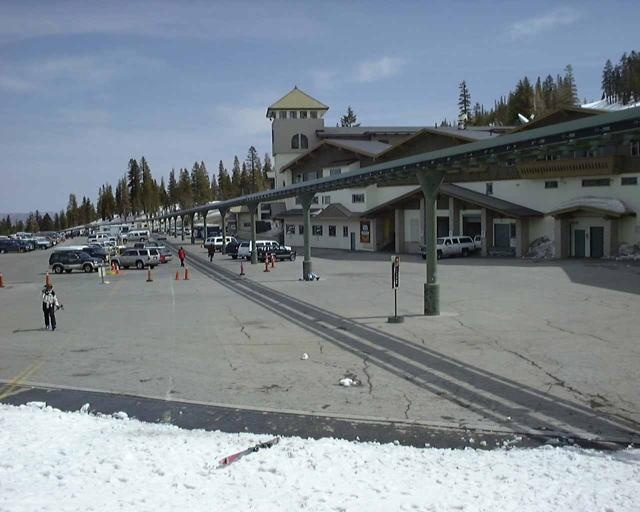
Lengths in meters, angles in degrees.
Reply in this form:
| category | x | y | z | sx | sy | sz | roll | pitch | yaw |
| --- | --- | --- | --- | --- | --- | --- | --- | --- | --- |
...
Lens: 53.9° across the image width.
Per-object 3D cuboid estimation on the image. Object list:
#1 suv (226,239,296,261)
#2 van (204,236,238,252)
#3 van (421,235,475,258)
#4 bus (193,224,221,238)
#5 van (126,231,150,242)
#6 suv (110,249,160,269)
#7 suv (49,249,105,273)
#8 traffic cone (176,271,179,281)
| category | x | y | z | sx | sy | sz | roll | pitch | yaw |
| --- | --- | --- | --- | --- | --- | --- | --- | --- | --- |
| suv | -3.991 | -0.469 | 50.874 | 4.133 | 1.483 | 2.413 | -4 | 6 | -23 |
| van | -10.577 | -1.427 | 65.743 | 2.507 | 1.432 | 4.329 | -3 | 8 | -21 |
| van | 10.092 | -0.786 | 48.151 | 4.415 | 1.890 | 2.566 | 0 | -2 | -34 |
| bus | -19.813 | -4.321 | 110.319 | 4.720 | 1.392 | 5.470 | 0 | 3 | -16 |
| van | -29.226 | -3.060 | 100.604 | 4.169 | 2.246 | 2.542 | 3 | -2 | -26 |
| suv | -13.343 | 0.298 | 46.125 | 2.775 | 1.307 | 1.555 | 4 | 2 | 4 |
| suv | -16.836 | 0.422 | 43.311 | 3.302 | 1.809 | 1.997 | -4 | 2 | -5 |
| traffic cone | -8.346 | 1.264 | 36.885 | 0.147 | 0.290 | 0.533 | -3 | 10 | -9 |
